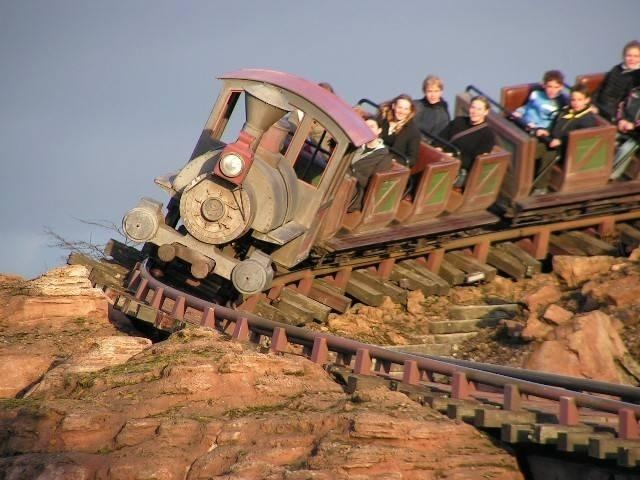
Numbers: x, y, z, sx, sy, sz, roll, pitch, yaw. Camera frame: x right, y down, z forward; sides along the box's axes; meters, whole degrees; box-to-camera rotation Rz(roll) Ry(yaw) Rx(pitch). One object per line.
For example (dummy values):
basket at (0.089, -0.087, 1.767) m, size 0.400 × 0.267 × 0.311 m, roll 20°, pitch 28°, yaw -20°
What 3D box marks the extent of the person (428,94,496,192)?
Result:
person at (3.161, -2.222, 10.040) m, size 1.075 × 2.161 × 0.887 m, roll -5°, pitch -25°, yaw 39°
